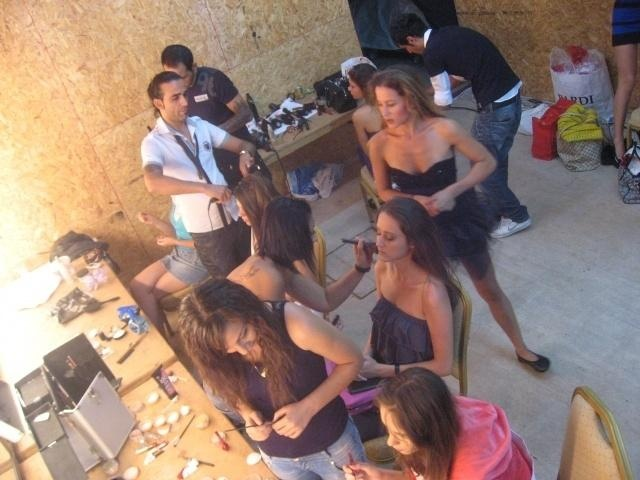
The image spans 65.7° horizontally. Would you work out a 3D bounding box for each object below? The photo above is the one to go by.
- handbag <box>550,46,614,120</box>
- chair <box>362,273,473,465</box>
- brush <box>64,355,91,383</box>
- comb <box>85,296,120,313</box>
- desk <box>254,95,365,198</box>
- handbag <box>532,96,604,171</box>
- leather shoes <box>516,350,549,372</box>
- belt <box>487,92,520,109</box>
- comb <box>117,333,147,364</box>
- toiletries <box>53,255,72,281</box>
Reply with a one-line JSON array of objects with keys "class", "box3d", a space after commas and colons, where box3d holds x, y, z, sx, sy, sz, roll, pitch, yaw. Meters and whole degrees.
[{"class": "handbag", "box3d": [2.857, -1.613, 5.208, 0.414, 0.722, 0.573, -23, 24, -4]}, {"class": "chair", "box3d": [0.485, 0.655, 2.486, 0.529, 0.961, 0.508, -23, 43, -18]}, {"class": "brush", "box3d": [-1.451, 0.770, 2.983, 0.139, 0.146, 0.088, 33, 73, 30]}, {"class": "comb", "box3d": [-1.649, 0.464, 3.744, 0.103, 0.030, 0.203, 32, 36, 32]}, {"class": "desk", "box3d": [-0.083, -1.045, 5.445, 1.201, 0.886, 0.783, -21, 24, -22]}, {"class": "handbag", "box3d": [2.533, -1.099, 5.045, 0.492, 0.393, 0.850, 9, 47, 26]}, {"class": "leather shoes", "box3d": [1.489, 0.843, 3.469, 0.184, 0.051, 0.102, 28, 57, 35]}, {"class": "belt", "box3d": [1.504, -1.155, 4.006, 0.143, 0.058, 0.146, -29, 12, 42]}, {"class": "comb", "box3d": [-1.257, 0.733, 3.424, 0.051, 0.057, 0.336, -6, 31, 30]}, {"class": "toiletries", "box3d": [-2.039, 0.221, 4.019, 0.097, 0.200, 0.144, -21, 12, -2]}]
